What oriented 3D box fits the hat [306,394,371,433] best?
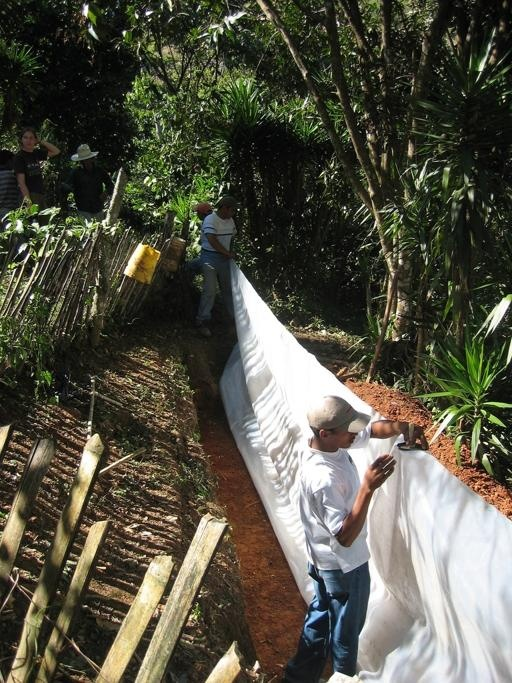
[{"bbox_3d":[0.359,0.308,2.624,0.219,0.109,0.142,1,32,3],"label":"hat"}]

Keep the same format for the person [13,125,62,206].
[{"bbox_3d":[-2.314,-1.807,6.425,0.415,0.625,1.793,16,4,-21],"label":"person"}]

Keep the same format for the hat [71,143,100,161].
[{"bbox_3d":[-1.936,-2.124,6.992,0.207,0.165,0.545,16,4,-21],"label":"hat"}]
